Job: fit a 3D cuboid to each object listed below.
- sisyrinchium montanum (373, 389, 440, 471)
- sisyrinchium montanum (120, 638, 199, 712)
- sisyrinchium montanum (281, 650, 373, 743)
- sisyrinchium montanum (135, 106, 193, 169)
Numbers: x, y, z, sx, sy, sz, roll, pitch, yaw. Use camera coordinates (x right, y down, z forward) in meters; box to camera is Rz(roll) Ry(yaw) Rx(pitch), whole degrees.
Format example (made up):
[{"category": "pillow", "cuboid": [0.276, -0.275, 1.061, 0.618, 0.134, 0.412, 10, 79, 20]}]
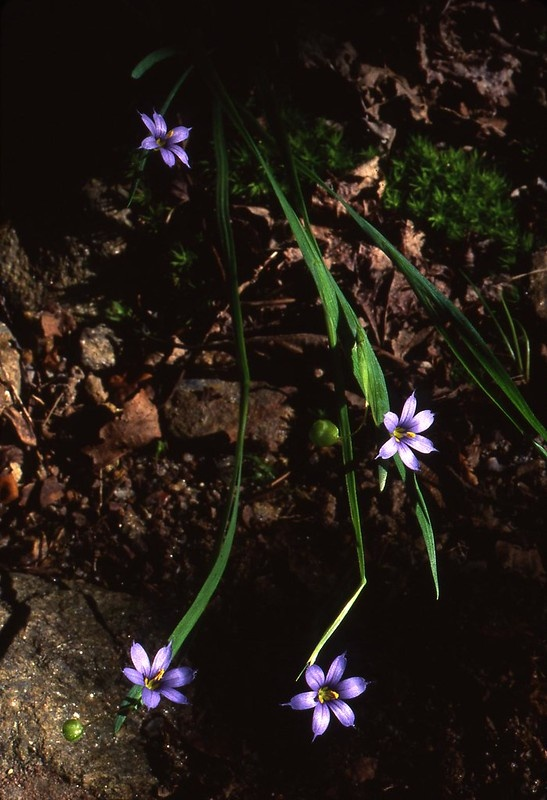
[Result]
[{"category": "sisyrinchium montanum", "cuboid": [0.503, 0.123, 2.737, 0.260, 0.249, 0.213, 5, 34, -21]}, {"category": "sisyrinchium montanum", "cuboid": [-0.445, 1.034, 2.623, 0.263, 0.110, 0.285, -22, 15, 4]}, {"category": "sisyrinchium montanum", "cuboid": [0.206, 1.075, 2.752, 0.355, 0.398, 0.143, 3, 1, -7]}, {"category": "sisyrinchium montanum", "cuboid": [-0.484, -1.161, 3.066, 0.259, 0.124, 0.311, -6, 28, -28]}]
